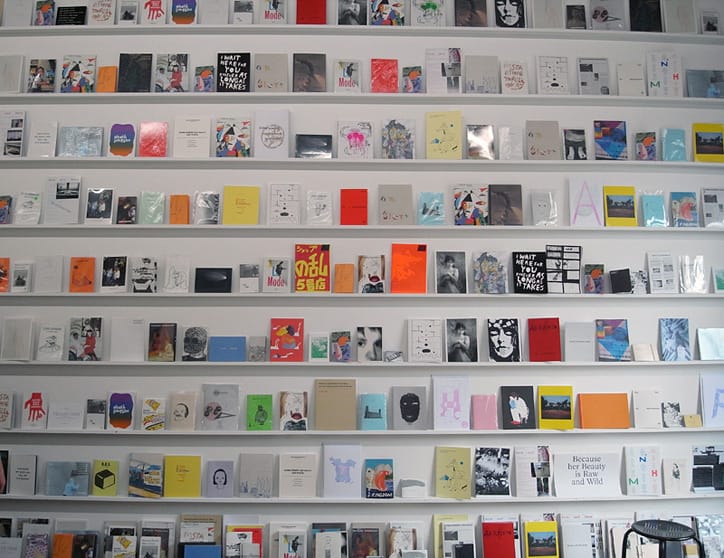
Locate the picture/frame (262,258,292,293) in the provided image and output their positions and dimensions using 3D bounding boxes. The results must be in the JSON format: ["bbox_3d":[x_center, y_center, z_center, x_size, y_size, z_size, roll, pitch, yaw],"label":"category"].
[{"bbox_3d":[-0.596,-0.020,6.742,0.189,0.028,0.291,0,78,-4],"label":"picture/frame"}]

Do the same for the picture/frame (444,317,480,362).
[{"bbox_3d":[0.681,0.435,6.737,0.223,0.038,0.391,1,76,-4],"label":"picture/frame"}]

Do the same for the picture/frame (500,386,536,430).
[{"bbox_3d":[1.080,0.883,6.711,0.243,0.346,0.036,-1,24,16],"label":"picture/frame"}]

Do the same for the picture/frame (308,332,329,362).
[{"bbox_3d":[-0.300,0.471,6.711,0.139,0.082,0.170,2,60,-5],"label":"picture/frame"}]

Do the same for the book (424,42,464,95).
[{"bbox_3d":[0.567,-1.472,6.878,0.291,0.049,0.492,2,80,-8],"label":"book"}]

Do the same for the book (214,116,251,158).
[{"bbox_3d":[-0.916,-0.983,6.824,0.224,0.029,0.302,0,80,-2],"label":"book"}]

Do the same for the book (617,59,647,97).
[{"bbox_3d":[1.918,-1.415,6.928,0.212,0.039,0.330,2,77,-3],"label":"book"}]

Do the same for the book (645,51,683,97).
[{"bbox_3d":[2.148,-1.452,6.945,0.250,0.040,0.436,1,79,-4],"label":"book"}]
